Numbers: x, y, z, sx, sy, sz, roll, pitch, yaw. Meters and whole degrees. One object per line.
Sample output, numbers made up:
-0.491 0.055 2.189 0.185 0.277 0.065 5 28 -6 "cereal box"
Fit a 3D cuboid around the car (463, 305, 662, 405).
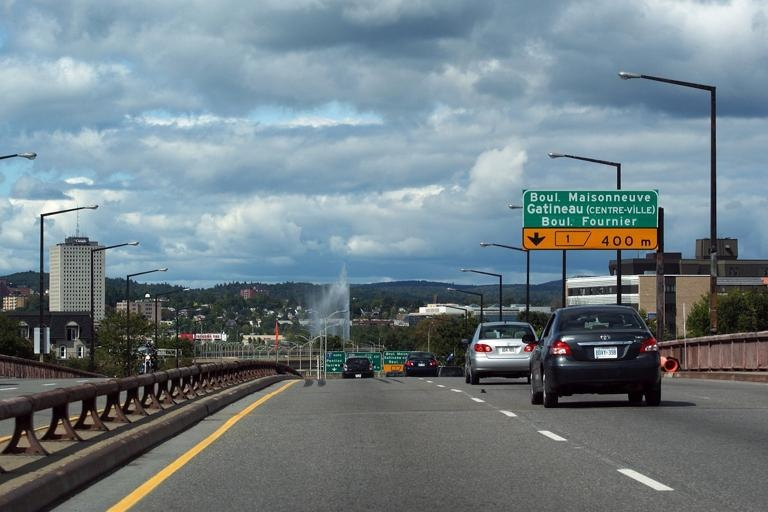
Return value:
2.957 2.186 20.150 2.685 2.159 6.188 -1 -1 -2 "car"
